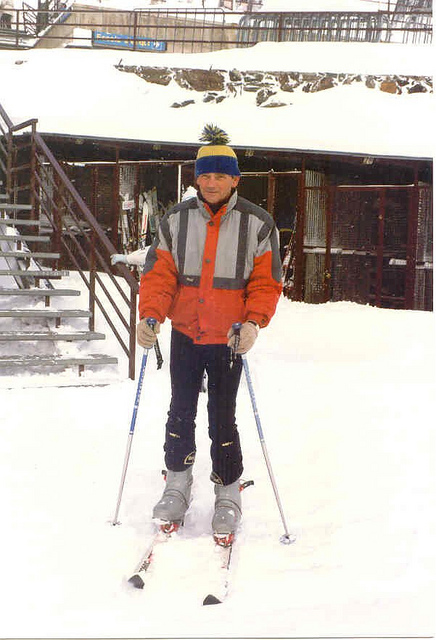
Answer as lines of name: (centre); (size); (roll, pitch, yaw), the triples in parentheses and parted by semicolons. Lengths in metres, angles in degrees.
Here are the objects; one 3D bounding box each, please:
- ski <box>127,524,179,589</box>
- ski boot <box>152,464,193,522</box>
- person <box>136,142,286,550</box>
ski: (-0.318, 1.130, 3.644); (0.075, 0.051, 0.578); (21, 22, -2)
ski boot: (-0.234, 0.887, 3.953); (0.156, 0.303, 0.444); (2, 5, 13)
person: (-0.058, 0.116, 3.778); (0.700, 1.971, 0.494); (5, 12, 2)
